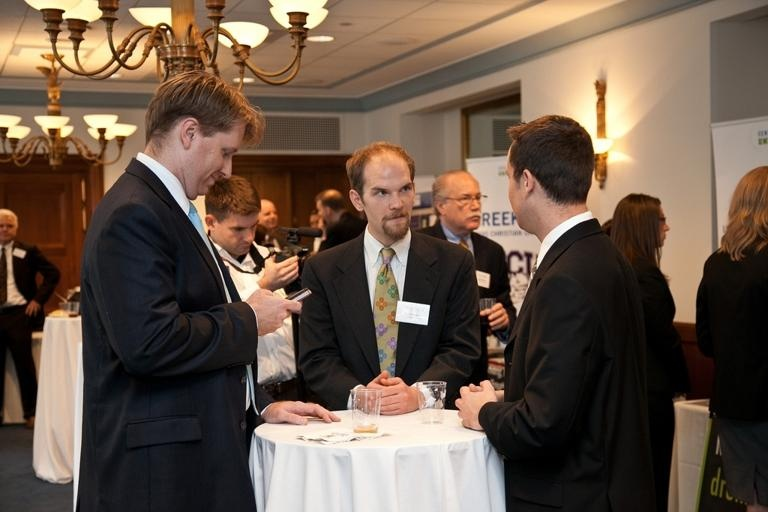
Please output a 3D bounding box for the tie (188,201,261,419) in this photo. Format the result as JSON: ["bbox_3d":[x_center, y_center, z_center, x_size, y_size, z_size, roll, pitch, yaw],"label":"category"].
[{"bbox_3d":[-0.674,0.236,2.731,0.097,1.037,0.270,-6,-14,-34],"label":"tie"}]

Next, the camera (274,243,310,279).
[{"bbox_3d":[-0.500,0.020,3.461,0.167,0.106,0.156,15,7,-4],"label":"camera"}]

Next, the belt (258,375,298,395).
[{"bbox_3d":[-0.567,0.672,3.408,0.151,0.076,0.207,1,-5,-23],"label":"belt"}]

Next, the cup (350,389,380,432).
[{"bbox_3d":[-0.077,0.623,2.656,0.148,0.177,0.154,1,-3,0],"label":"cup"}]

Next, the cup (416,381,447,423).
[{"bbox_3d":[0.201,0.612,2.744,0.147,0.166,0.149,-1,-6,0],"label":"cup"}]
